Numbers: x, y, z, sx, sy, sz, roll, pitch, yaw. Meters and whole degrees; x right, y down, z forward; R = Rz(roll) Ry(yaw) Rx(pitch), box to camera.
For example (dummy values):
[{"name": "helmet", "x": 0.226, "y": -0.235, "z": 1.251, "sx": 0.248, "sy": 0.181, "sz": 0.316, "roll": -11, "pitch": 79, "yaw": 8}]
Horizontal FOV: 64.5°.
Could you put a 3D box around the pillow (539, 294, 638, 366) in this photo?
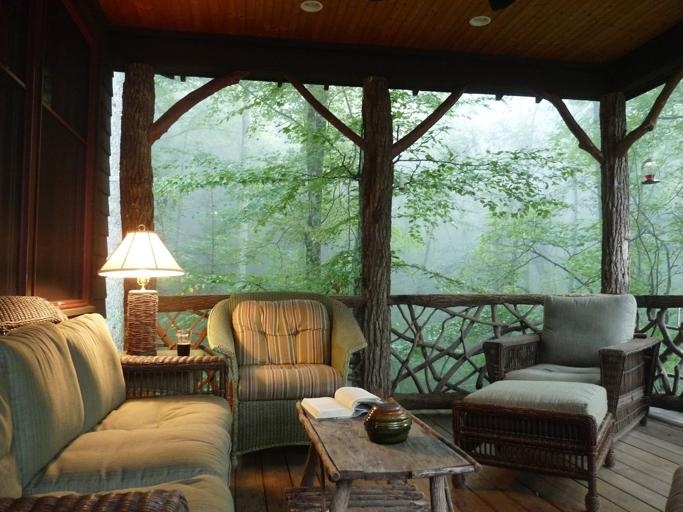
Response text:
[{"name": "pillow", "x": 1.783, "y": 0.537, "z": 3.861, "sx": 0.536, "sy": 0.416, "sz": 0.258, "roll": -1, "pitch": -31, "yaw": 20}]

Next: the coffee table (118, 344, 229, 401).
[{"name": "coffee table", "x": -1.007, "y": 0.698, "z": 3.262, "sx": 0.501, "sy": 0.244, "sz": 0.382, "roll": -1, "pitch": 0, "yaw": -22}]

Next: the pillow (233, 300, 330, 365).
[{"name": "pillow", "x": -0.439, "y": 0.564, "z": 3.883, "sx": 0.551, "sy": 0.293, "sz": 0.172, "roll": 0, "pitch": -10, "yaw": -11}]

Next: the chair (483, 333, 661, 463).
[{"name": "chair", "x": 1.652, "y": 0.811, "z": 3.693, "sx": 0.959, "sy": 0.567, "sz": 1.054, "roll": -5, "pitch": -7, "yaw": 44}]

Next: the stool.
[{"name": "stool", "x": 1.073, "y": 0.918, "z": 3.017, "sx": 0.725, "sy": 0.452, "sz": 0.764, "roll": -3, "pitch": -5, "yaw": 34}]

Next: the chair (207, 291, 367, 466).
[{"name": "chair", "x": -0.417, "y": 0.836, "z": 3.956, "sx": 1.430, "sy": 1.178, "sz": 1.012, "roll": 1, "pitch": -13, "yaw": -9}]
